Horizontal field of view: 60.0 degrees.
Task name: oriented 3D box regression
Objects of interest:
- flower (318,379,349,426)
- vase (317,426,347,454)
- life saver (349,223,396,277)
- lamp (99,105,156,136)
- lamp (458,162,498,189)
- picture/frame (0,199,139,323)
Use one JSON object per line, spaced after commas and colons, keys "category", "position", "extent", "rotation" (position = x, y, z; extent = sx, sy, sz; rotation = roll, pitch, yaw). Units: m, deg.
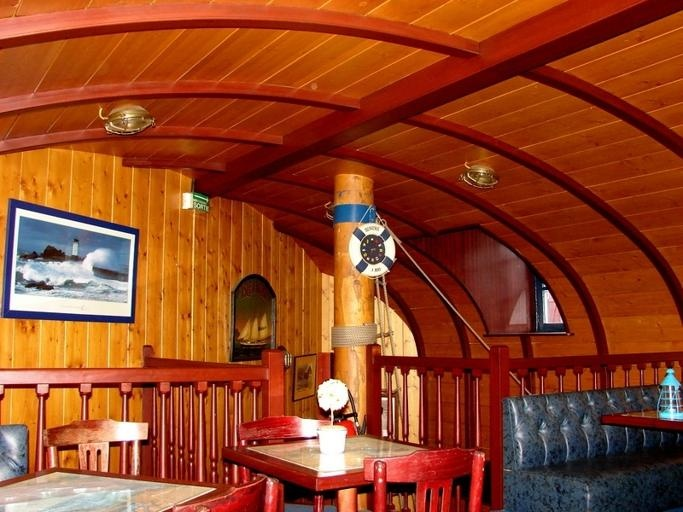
{"category": "flower", "position": [-0.050, 0.912, 3.705], "extent": [0.167, 0.276, 0.161], "rotation": [-14, -19, 39]}
{"category": "vase", "position": [-0.056, 1.099, 3.570], "extent": [0.198, 0.130, 0.171], "rotation": [1, -13, 1]}
{"category": "life saver", "position": [0.319, -0.072, 6.344], "extent": [0.651, 0.507, 0.138], "rotation": [1, -5, -29]}
{"category": "lamp", "position": [-1.893, -1.197, 5.218], "extent": [0.494, 0.186, 0.467], "rotation": [12, 5, 7]}
{"category": "lamp", "position": [1.492, -0.882, 6.414], "extent": [0.350, 0.279, 0.343], "rotation": [-4, -13, 11]}
{"category": "picture/frame", "position": [-2.854, 0.055, 6.118], "extent": [0.054, 0.999, 1.615], "rotation": [-8, -10, 42]}
